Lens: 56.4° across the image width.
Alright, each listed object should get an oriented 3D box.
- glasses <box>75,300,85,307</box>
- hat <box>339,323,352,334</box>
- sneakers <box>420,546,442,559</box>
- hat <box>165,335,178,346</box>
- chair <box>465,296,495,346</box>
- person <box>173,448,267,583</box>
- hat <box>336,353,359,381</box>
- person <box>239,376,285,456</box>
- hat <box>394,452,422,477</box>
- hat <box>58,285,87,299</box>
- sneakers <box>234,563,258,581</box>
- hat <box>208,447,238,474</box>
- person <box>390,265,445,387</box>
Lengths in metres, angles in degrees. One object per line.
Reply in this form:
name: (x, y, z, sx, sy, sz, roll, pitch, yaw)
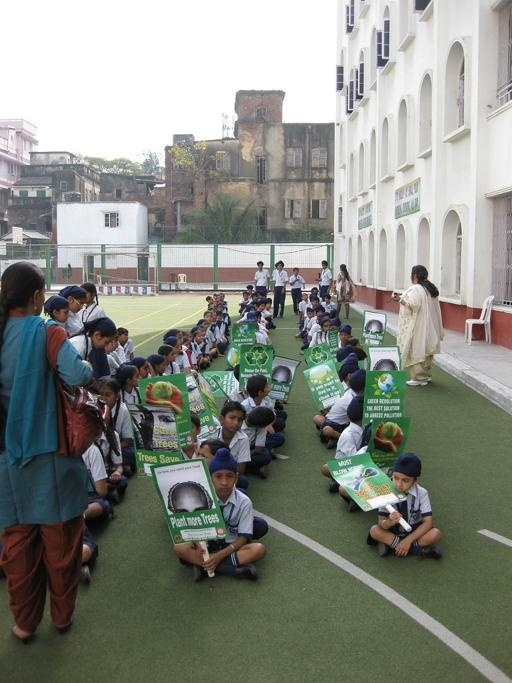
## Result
glasses: (-1.892, -0.424, 5.139, 0.090, 0.035, 0.097, -16, 5, 6)
hat: (1.759, -0.252, 9.395, 0.192, 0.272, 0.300, 4, -11, 16)
sneakers: (1.197, 1.464, 3.286, 0.107, 0.082, 0.052, 7, 38, 20)
hat: (-1.346, -0.017, 7.640, 0.187, 0.139, 0.423, 0, 1, -12)
chair: (5.889, -0.595, 12.655, 0.693, 1.251, 0.484, 0, 1, 29)
person: (-0.225, 1.110, 3.097, 0.553, 0.839, 0.312, 0, 1, -10)
hat: (1.190, 0.315, 5.922, 0.124, 0.389, 0.268, 24, -4, -5)
person: (0.135, 0.817, 5.575, 0.500, 0.885, 0.571, -11, 17, -34)
hat: (1.082, 0.883, 3.409, 0.141, 0.144, 0.158, 13, -8, 44)
hat: (-1.827, -0.506, 4.771, 0.301, 0.174, 0.254, 4, 7, 35)
sneakers: (-0.061, 1.474, 3.020, 0.073, 0.076, 0.163, -4, 7, -32)
hat: (-0.213, 0.775, 3.071, 0.119, 0.127, 0.184, 1, -11, -2)
person: (3.277, -0.356, 9.722, 0.936, 2.443, 0.664, 0, 1, 5)
